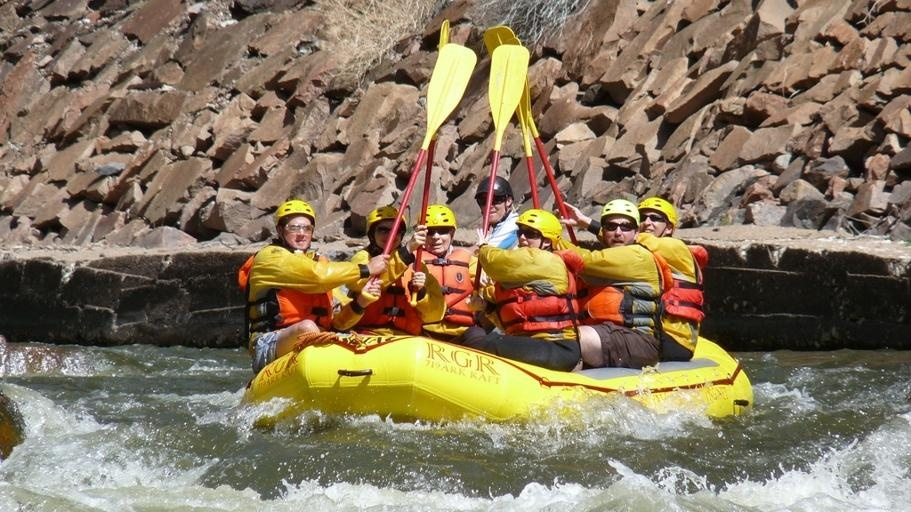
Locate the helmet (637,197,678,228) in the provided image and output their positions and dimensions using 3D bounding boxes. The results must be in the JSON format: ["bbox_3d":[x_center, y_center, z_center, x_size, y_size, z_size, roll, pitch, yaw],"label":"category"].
[{"bbox_3d":[3.544,-0.805,23.095,0.687,0.356,0.538,11,-2,-43],"label":"helmet"}]
